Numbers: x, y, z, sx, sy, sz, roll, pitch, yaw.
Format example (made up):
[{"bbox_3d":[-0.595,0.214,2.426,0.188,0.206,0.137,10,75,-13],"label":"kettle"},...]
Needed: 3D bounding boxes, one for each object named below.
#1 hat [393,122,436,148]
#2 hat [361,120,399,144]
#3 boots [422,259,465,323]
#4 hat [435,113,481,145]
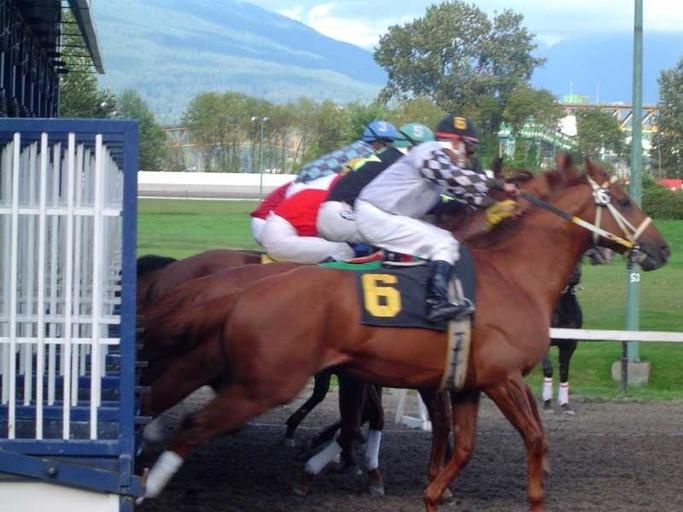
[{"bbox_3d":[0.700,-1.192,13.212,0.247,0.153,0.317,-7,13,-39],"label":"hat"},{"bbox_3d":[0.394,-1.273,13.555,0.331,0.144,0.215,-1,4,19],"label":"hat"},{"bbox_3d":[0.922,0.341,12.403,0.564,0.639,0.410,1,-4,-1],"label":"boots"},{"bbox_3d":[1.129,-1.254,12.950,0.401,0.182,0.240,2,5,-6],"label":"hat"}]
